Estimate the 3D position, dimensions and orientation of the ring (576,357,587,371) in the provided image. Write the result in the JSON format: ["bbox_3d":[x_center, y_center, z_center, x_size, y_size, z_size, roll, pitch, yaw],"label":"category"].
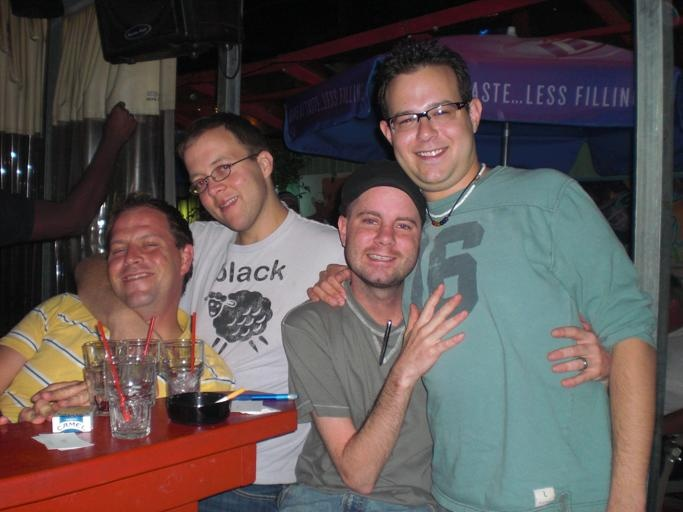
[{"bbox_3d":[1.088,0.484,2.822,0.048,0.061,0.024,0,-6,-26],"label":"ring"}]

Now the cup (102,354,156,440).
[{"bbox_3d":[-0.952,0.630,2.793,0.225,0.333,0.235,-2,-5,0],"label":"cup"}]

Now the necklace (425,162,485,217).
[{"bbox_3d":[0.584,-0.300,3.092,0.071,0.288,0.224,42,-10,-18],"label":"necklace"}]

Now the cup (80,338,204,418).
[{"bbox_3d":[-0.950,0.566,2.976,0.468,0.274,0.381,0,-8,7],"label":"cup"}]
